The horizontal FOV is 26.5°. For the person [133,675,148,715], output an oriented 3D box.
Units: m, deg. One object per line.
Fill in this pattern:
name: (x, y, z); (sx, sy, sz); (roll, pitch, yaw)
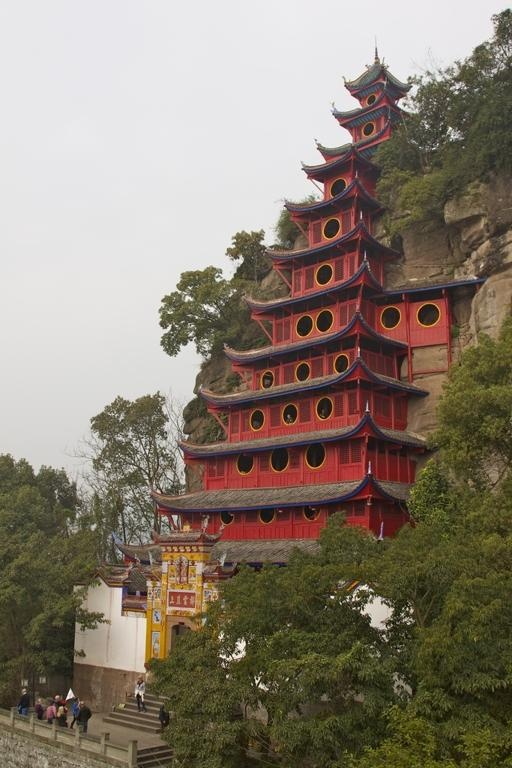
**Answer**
person: (-3.293, 8.807, 31.015); (0.297, 0.928, 0.854); (2, -14, -4)
